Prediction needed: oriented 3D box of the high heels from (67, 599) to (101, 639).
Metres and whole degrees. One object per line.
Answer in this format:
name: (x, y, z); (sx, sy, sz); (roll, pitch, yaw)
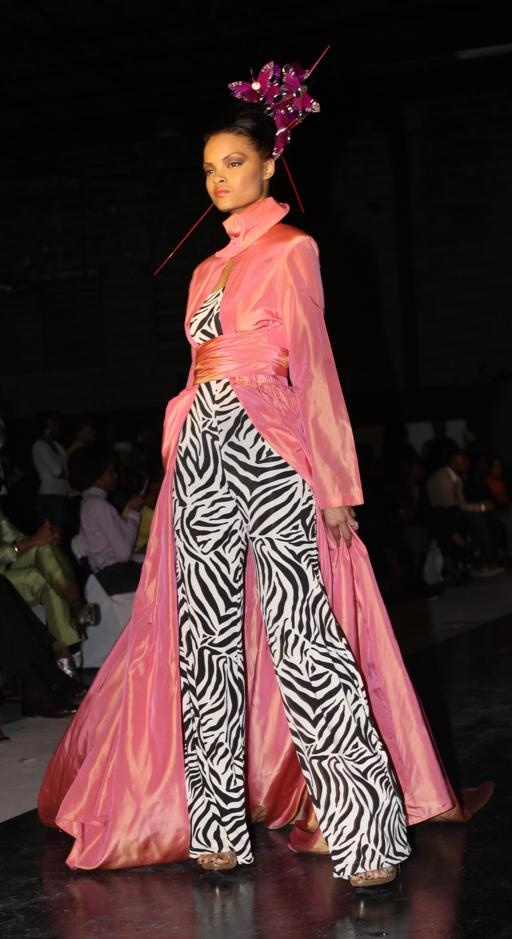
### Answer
high heels: (-0.737, 0.650, 3.568); (0.085, 0.091, 0.231); (1, -27, -9)

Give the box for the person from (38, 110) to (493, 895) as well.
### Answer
person: (-0.047, 0.052, 1.555); (0.678, 1.355, 0.287); (-6, -5, 26)
